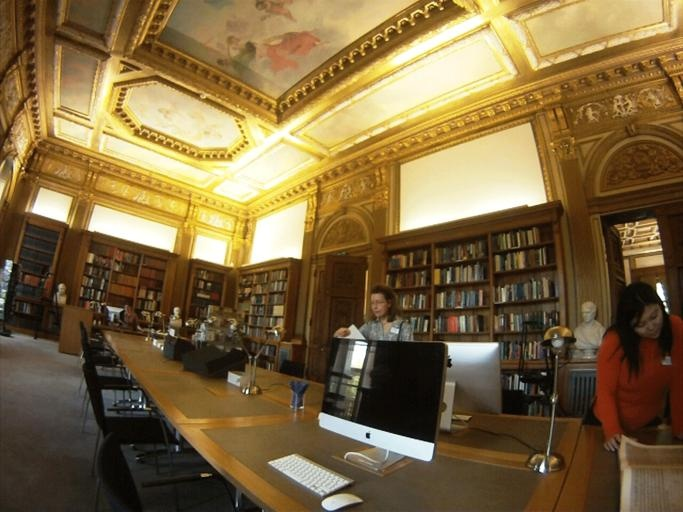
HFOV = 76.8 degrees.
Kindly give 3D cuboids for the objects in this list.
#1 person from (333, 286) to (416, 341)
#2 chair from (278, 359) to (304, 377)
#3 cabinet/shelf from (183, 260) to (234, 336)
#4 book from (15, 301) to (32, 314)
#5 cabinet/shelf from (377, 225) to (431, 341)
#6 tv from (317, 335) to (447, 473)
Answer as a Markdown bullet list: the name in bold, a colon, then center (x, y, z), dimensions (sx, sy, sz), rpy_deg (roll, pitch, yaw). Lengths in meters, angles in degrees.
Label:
- **person**: center (0.312, 0.601, 3.774), dimensions (0.719, 0.630, 0.410), rpy_deg (-7, -6, 37)
- **chair**: center (-0.580, 1.357, 5.231), dimensions (0.199, 0.200, 0.348), rpy_deg (-4, -1, 34)
- **cabinet/shelf**: center (-3.579, 0.922, 11.417), dimensions (0.939, 1.478, 0.272), rpy_deg (12, 19, -14)
- **book**: center (-6.583, 1.073, 8.913), dimensions (0.287, 0.226, 0.057), rpy_deg (13, -17, -37)
- **cabinet/shelf**: center (1.111, 0.591, 6.955), dimensions (0.987, 1.457, 0.310), rpy_deg (-1, -16, 15)
- **tv**: center (0.233, 0.863, 2.455), dimensions (0.648, 0.563, 0.295), rpy_deg (3, -28, 36)
